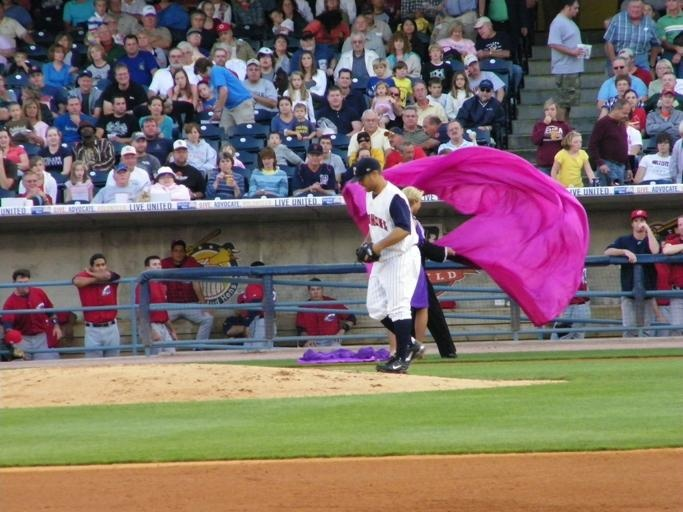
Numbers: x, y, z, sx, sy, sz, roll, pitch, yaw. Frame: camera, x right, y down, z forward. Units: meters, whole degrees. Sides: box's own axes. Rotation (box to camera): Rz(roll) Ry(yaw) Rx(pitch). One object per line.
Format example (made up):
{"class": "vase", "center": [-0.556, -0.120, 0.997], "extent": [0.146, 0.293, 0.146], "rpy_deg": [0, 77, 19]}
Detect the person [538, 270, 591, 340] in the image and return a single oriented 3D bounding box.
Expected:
{"class": "person", "center": [3.562, 0.809, 34.368], "extent": [0.659, 1.118, 1.280], "rpy_deg": [-3, 0, 6]}

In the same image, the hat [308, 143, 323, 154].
{"class": "hat", "center": [-0.413, -1.667, 35.544], "extent": [0.267, 0.175, 0.198], "rpy_deg": [-3, 0, -21]}

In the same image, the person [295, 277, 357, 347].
{"class": "person", "center": [-0.281, 0.943, 34.628], "extent": [0.963, 1.077, 0.819], "rpy_deg": [-3, 0, 1]}

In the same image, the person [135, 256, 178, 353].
{"class": "person", "center": [-2.935, 0.841, 34.473], "extent": [0.573, 1.529, 1.230], "rpy_deg": [-3, 0, -5]}

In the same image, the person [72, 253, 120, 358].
{"class": "person", "center": [-3.850, 0.843, 34.649], "extent": [0.719, 1.612, 1.134], "rpy_deg": [-3, 0, -6]}

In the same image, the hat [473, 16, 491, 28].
{"class": "hat", "center": [2.482, -4.084, 38.887], "extent": [0.272, 0.138, 0.191], "rpy_deg": [-1, -7, -38]}

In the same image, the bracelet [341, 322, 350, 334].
{"class": "bracelet", "center": [0.053, 1.195, 34.725], "extent": [0.167, 0.164, 0.166], "rpy_deg": [1, -4, 4]}

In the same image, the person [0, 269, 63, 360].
{"class": "person", "center": [-4.939, 0.986, 34.824], "extent": [0.907, 1.429, 1.329], "rpy_deg": [-3, 0, -7]}

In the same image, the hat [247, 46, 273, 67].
{"class": "hat", "center": [-1.359, -3.458, 38.470], "extent": [0.279, 0.218, 0.444], "rpy_deg": [0, -1, 5]}

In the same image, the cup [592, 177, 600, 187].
{"class": "cup", "center": [4.076, -1.127, 35.138], "extent": [0.111, 0.135, 0.264], "rpy_deg": [-3, -1, 32]}

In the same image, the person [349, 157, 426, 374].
{"class": "person", "center": [0.673, 0.185, 31.135], "extent": [0.874, 3.047, 0.744], "rpy_deg": [-3, 0, 2]}

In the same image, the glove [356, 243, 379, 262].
{"class": "glove", "center": [0.383, -0.006, 30.893], "extent": [0.318, 0.148, 0.214], "rpy_deg": [1, -45, -40]}

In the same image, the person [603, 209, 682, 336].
{"class": "person", "center": [4.701, 0.319, 34.117], "extent": [1.148, 1.968, 0.856], "rpy_deg": [-3, 0, 8]}

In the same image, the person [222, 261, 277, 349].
{"class": "person", "center": [-1.479, 0.834, 34.945], "extent": [0.776, 1.360, 1.843], "rpy_deg": [-3, 0, -8]}

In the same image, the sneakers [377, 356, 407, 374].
{"class": "sneakers", "center": [0.716, 1.597, 31.071], "extent": [0.379, 0.179, 0.224], "rpy_deg": [3, -4, -8]}

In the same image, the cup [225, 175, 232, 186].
{"class": "cup", "center": [-1.831, -1.173, 35.617], "extent": [0.137, 0.141, 0.138], "rpy_deg": [0, 2, 0]}

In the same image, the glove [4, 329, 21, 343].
{"class": "glove", "center": [-5.120, 1.320, 34.199], "extent": [0.251, 0.225, 0.399], "rpy_deg": [-3, 0, -9]}
